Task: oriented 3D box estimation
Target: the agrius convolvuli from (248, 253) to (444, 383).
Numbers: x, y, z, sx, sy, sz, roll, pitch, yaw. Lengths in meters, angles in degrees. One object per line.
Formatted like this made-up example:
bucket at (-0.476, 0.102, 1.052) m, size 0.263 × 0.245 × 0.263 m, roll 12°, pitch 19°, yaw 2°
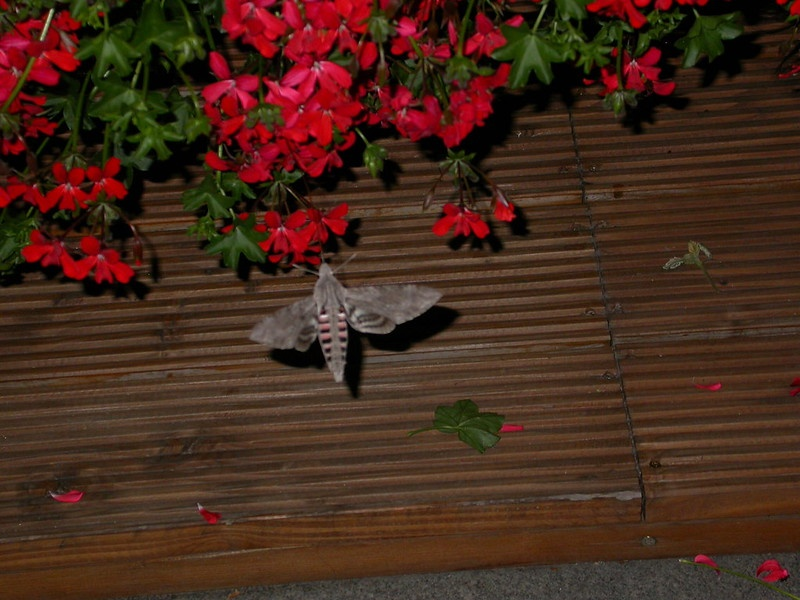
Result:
agrius convolvuli at (-0.199, 0.053, 2.933) m, size 0.606 × 0.235 × 0.264 m, roll -20°, pitch 92°, yaw -36°
